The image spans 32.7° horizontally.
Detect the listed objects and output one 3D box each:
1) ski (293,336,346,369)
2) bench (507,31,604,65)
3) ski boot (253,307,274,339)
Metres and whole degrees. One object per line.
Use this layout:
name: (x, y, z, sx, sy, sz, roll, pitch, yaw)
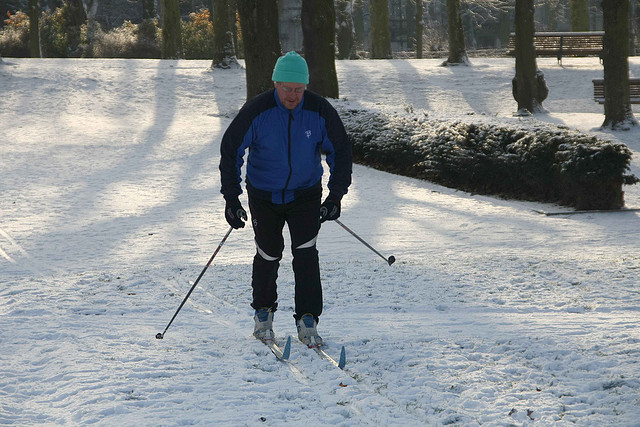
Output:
ski: (-0.034, 2.291, 17.994, 0.100, 0.217, 0.932, -18, 38, -38)
bench: (8.986, -5.930, 40.570, 3.668, 0.980, 0.986, 3, -6, 19)
ski boot: (-0.945, 1.810, 18.258, 0.335, 0.524, 0.120, -1, 7, -4)
